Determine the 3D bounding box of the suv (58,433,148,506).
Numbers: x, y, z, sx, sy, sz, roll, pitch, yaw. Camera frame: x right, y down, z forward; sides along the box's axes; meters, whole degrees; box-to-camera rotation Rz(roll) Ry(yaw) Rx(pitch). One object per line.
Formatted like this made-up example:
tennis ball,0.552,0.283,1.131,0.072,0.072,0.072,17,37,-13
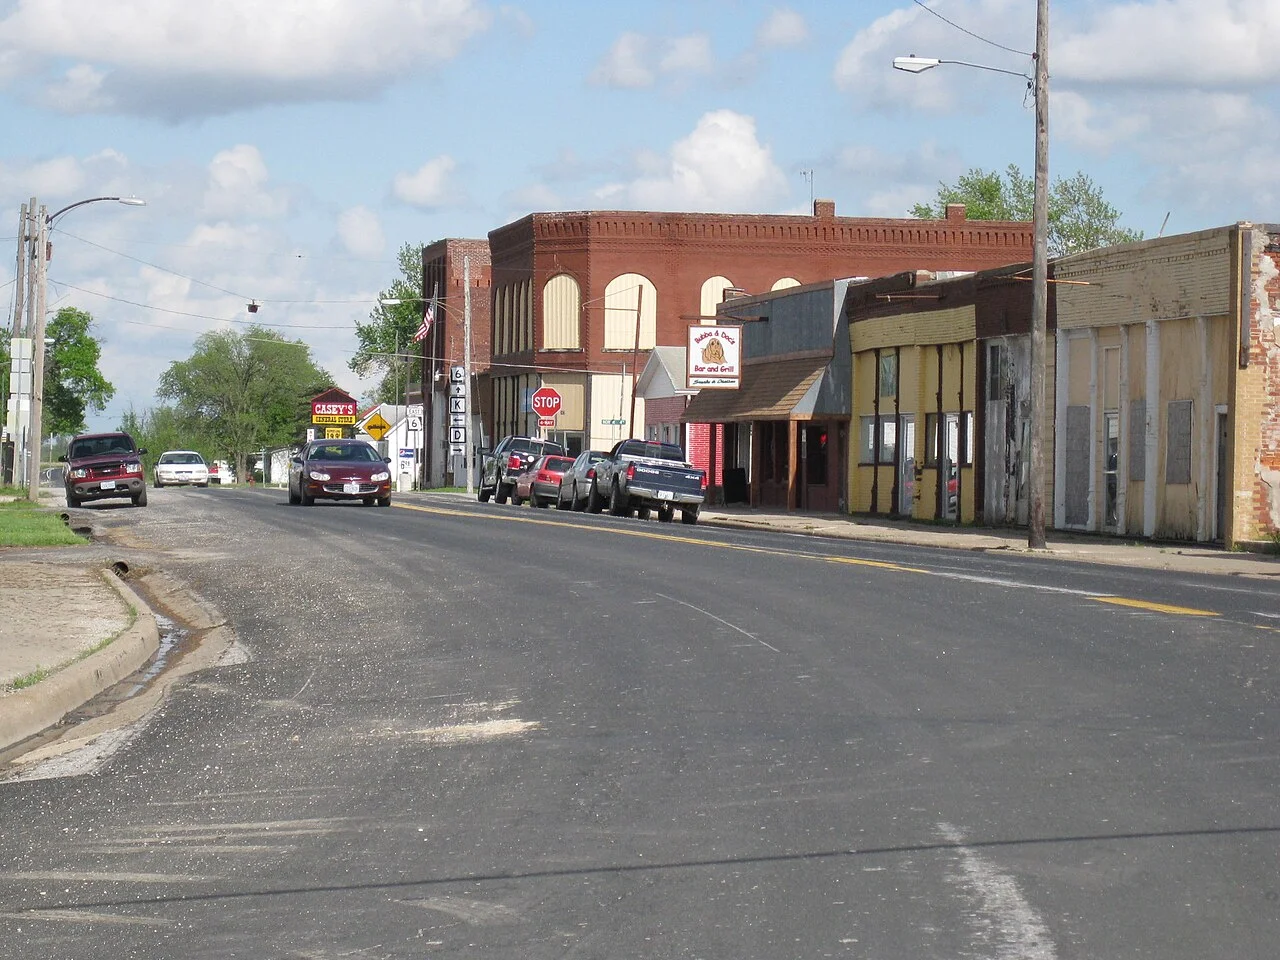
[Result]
suv,-14.780,-0.152,43.390,1.991,2.002,4.555,-5,-1,-18

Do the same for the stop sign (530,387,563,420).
stop sign,-3.956,-3.171,64.345,0.815,1.252,1.239,1,0,43

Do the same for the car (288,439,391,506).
car,-8.239,-0.235,43.285,2.577,1.820,2.202,1,0,-11
